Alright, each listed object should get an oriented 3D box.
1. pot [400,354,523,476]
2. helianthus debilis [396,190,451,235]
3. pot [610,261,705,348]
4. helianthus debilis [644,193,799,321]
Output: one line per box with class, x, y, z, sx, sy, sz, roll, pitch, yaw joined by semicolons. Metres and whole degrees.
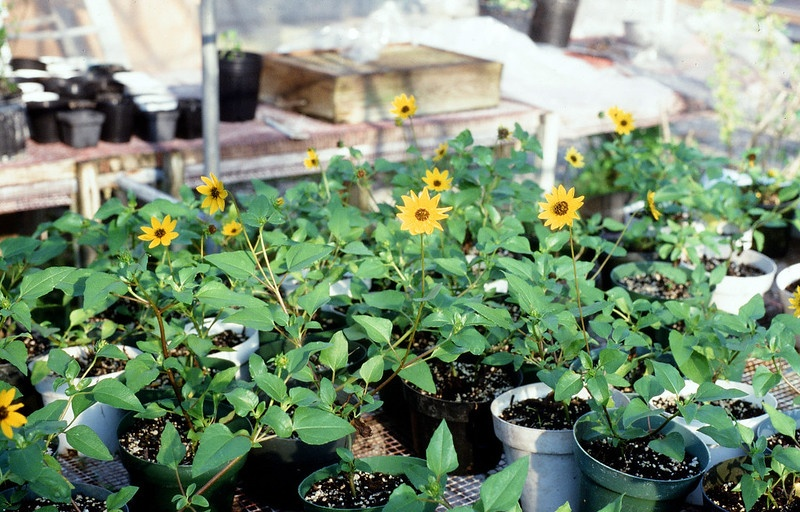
pot;0.214;0.484;2.203;0.360;0.270;0.358;1;22;0
helianthus debilis;0.061;-0.118;1.850;0.129;0.171;0.169;3;30;4
pot;1.090;0.164;2.768;0.339;0.286;0.387;-3;24;-1
helianthus debilis;1.390;0.088;2.954;0.559;0.377;0.595;8;30;21
